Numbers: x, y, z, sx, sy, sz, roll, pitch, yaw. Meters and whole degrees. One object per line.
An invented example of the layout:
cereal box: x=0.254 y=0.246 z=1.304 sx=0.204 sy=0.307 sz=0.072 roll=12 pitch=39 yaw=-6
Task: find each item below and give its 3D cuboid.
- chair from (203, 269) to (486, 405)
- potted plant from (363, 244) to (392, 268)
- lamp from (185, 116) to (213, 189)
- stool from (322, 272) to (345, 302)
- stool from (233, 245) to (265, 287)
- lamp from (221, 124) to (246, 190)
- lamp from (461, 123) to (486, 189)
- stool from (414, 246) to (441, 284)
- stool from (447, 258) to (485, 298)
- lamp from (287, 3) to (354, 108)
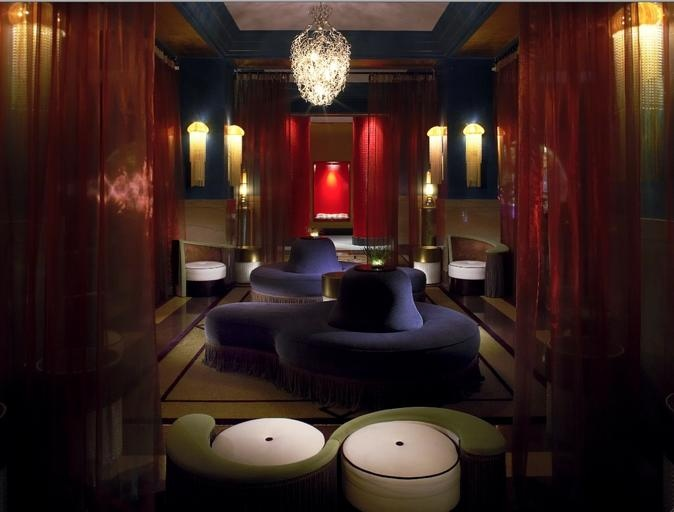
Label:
chair: x=0.026 y=0.537 z=3.331 sx=1.194 sy=0.482 sz=0.949 roll=6 pitch=7 yaw=38
potted plant: x=0.385 y=-0.013 z=4.833 sx=0.224 sy=0.231 sz=0.235 roll=0 pitch=-5 yaw=-2
lamp: x=-1.656 y=-1.191 z=6.395 sx=0.221 sy=0.745 sz=0.237 roll=-2 pitch=5 yaw=-16
stool: x=0.000 y=0.258 z=4.678 sx=0.216 sy=0.172 sz=0.219 roll=-1 pitch=3 yaw=-34
stool: x=-1.125 y=0.089 z=6.922 sx=0.504 sy=0.751 sz=0.408 roll=0 pitch=-1 yaw=-8
lamp: x=-1.282 y=-1.243 z=6.766 sx=0.208 sy=0.769 sz=0.431 roll=-1 pitch=5 yaw=-6
lamp: x=1.676 y=-1.214 z=6.553 sx=0.252 sy=0.756 sz=0.134 roll=1 pitch=5 yaw=14
stool: x=1.154 y=0.087 z=6.681 sx=0.393 sy=0.485 sz=0.420 roll=0 pitch=5 yaw=-1
stool: x=1.459 y=0.248 z=5.950 sx=0.339 sy=0.272 sz=0.361 roll=0 pitch=1 yaw=0
lamp: x=-0.162 y=-2.041 z=5.495 sx=0.643 sy=0.978 sz=1.357 roll=-1 pitch=6 yaw=-2
